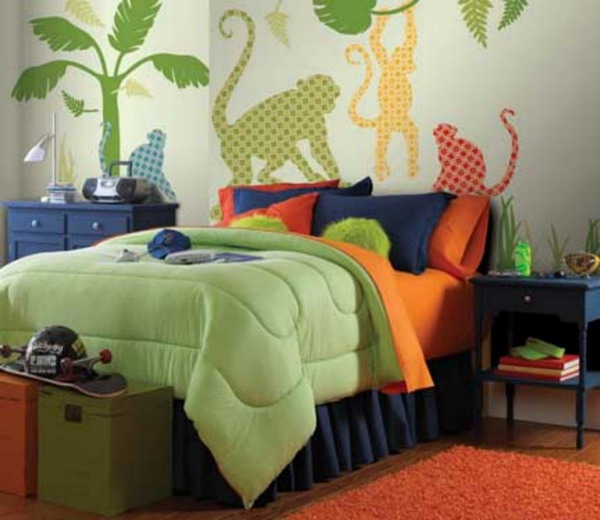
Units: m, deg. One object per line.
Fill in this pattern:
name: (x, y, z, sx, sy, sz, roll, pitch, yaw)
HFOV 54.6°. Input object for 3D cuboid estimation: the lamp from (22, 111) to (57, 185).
lamp: (-2.105, -0.934, 4.767, 0.228, 0.625, 0.642, 1, -2, -23)

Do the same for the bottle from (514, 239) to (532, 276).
bottle: (1.018, -0.003, 2.655, 0.060, 0.155, 0.205, 0, -2, 24)

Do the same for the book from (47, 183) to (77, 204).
book: (-1.811, -0.509, 4.441, 0.215, 0.141, 0.162, 1, 2, 24)

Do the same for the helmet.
helmet: (-0.740, 0.277, 1.798, 0.154, 0.166, 0.173, 0, 7, -9)
